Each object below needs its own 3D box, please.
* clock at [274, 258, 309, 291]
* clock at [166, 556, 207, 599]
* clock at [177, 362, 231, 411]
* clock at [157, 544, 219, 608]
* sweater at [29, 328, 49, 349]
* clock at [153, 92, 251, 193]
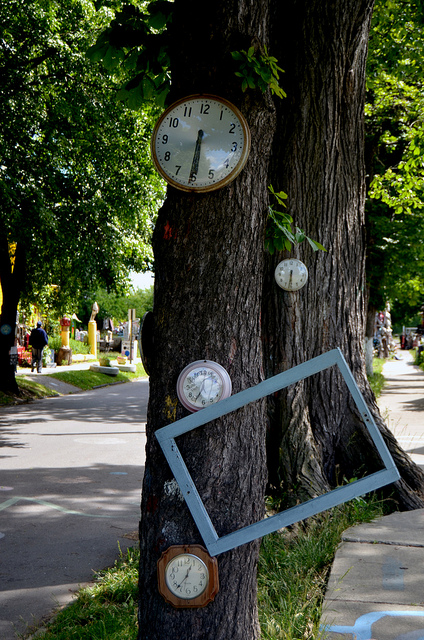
[{"bbox_3d":[0.683,-0.385,8.404,0.274,0.286,0.064,0,0,5],"label":"clock"},{"bbox_3d":[-0.133,1.318,5.029,0.255,0.288,0.035,1,15,-3],"label":"clock"},{"bbox_3d":[-0.042,0.344,5.086,0.272,0.245,0.073,0,1,-2],"label":"clock"},{"bbox_3d":[-0.133,1.328,5.030,0.308,0.336,0.043,1,-37,-7],"label":"clock"},{"bbox_3d":[-4.702,0.487,26.158,0.449,0.555,0.485,0,1,-15],"label":"sweater"},{"bbox_3d":[-0.030,-0.951,5.206,0.510,0.533,0.040,-3,-6,10],"label":"clock"}]
